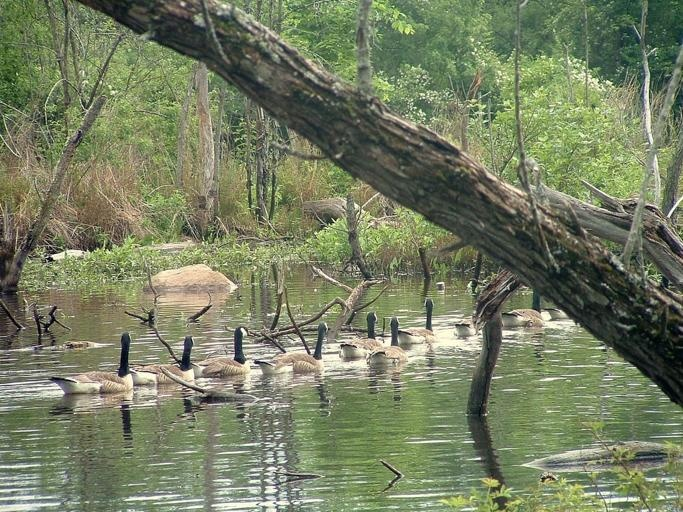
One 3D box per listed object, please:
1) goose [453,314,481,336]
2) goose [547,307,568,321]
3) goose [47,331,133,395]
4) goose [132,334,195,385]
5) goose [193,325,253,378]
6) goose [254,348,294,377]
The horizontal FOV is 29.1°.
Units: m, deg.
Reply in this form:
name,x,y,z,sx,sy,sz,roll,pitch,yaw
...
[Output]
name,x,y,z,sx,sy,sz,roll,pitch,yaw
goose,2.729,1.552,28.682,0.423,0.576,1.251,-1,-9,8
goose,5.215,1.380,31.980,0.502,0.378,1.220,1,8,11
goose,-4.604,2.075,24.674,1.490,1.017,0.654,-4,9,-22
goose,-3.401,2.152,25.239,1.629,1.189,0.600,0,0,-2
goose,-2.350,1.870,25.892,1.117,0.944,0.817,-2,9,-5
goose,-1.347,2.162,26.007,0.723,0.336,0.510,-3,9,-16
